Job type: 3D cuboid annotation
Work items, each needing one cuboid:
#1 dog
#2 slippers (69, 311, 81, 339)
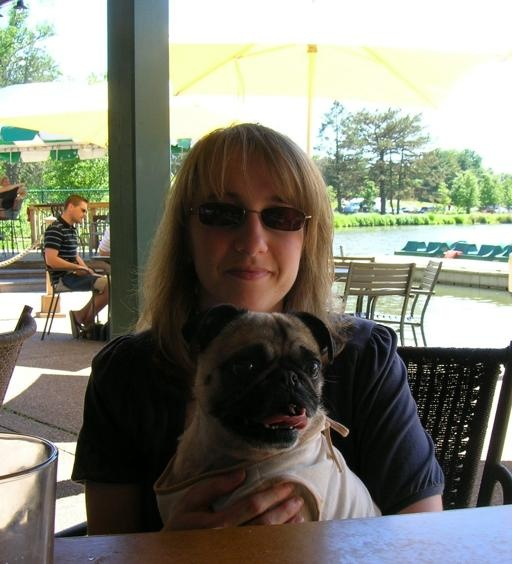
[{"bbox_3d":[-0.014,0.336,1.204,0.436,0.542,0.613,-1,-1,-7],"label":"dog"},{"bbox_3d":[-2.474,0.594,7.014,0.157,0.399,0.141,-8,-4,-2],"label":"slippers"}]
